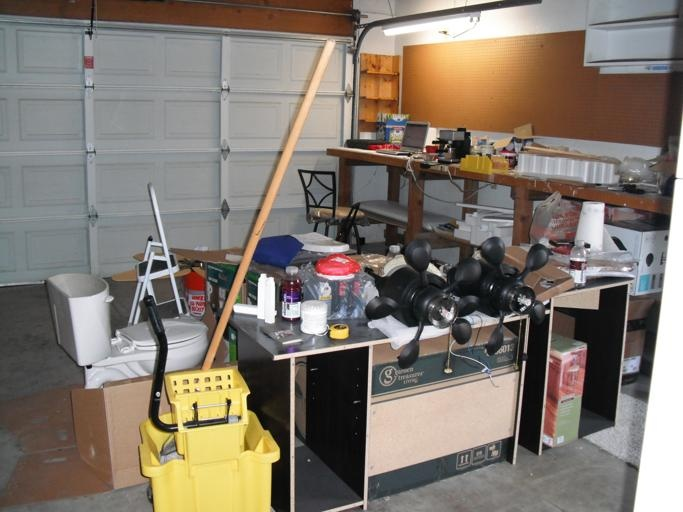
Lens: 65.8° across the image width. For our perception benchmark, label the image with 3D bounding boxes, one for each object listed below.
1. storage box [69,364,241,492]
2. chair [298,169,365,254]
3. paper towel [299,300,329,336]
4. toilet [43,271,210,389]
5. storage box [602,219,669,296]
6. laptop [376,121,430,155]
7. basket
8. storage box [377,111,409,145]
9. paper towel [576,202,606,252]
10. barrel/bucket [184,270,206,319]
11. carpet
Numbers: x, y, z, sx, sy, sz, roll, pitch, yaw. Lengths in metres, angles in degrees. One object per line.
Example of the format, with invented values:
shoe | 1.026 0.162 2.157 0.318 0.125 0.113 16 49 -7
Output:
storage box | -1.157 0.917 2.740 0.462 0.414 0.590 -4 10 -23
chair | -0.111 -0.464 6.422 0.676 1.130 0.739 9 14 32
paper towel | -0.128 0.278 2.470 0.137 0.151 0.138 -4 10 -30
toilet | -1.175 0.452 3.016 0.817 0.695 0.448 -5 15 -39
storage box | 2.079 0.020 3.696 0.440 0.489 0.208 -5 14 -13
laptop | 0.660 -1.343 5.891 0.387 0.381 0.573 2 13 -25
basket | -0.562 0.729 2.317 0.323 0.284 0.381 -2 -1 -8
storage box | 0.616 -1.567 6.477 0.305 0.443 0.132 6 4 9
paper towel | 1.650 -0.196 3.384 0.212 0.341 0.213 -6 -1 17
barrel/bucket | -1.239 0.362 4.402 0.211 0.364 0.218 -3 -4 0
carpet | 1.729 1.077 3.226 0.463 0.105 0.464 6 11 40
